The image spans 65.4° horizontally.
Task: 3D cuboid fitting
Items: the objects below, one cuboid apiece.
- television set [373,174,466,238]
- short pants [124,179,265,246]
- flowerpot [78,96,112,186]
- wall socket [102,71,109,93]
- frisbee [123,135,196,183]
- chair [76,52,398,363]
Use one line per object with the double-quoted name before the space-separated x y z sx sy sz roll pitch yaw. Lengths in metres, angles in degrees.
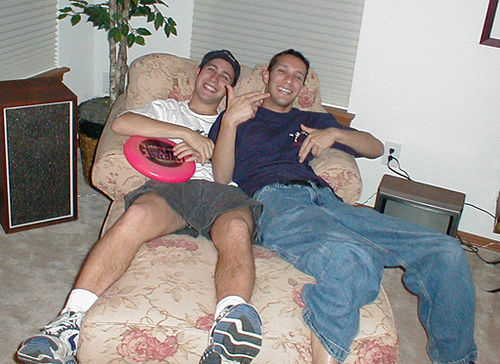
"television set" 1.310 0.164 3.029 0.622 0.244 0.423 17 25 18
"short pants" -0.301 0.150 2.198 0.776 0.228 0.294 7 24 -2
"flowerpot" -1.249 -0.328 3.189 0.252 0.651 0.614 -1 25 -20
"wall socket" -1.401 -0.986 3.837 0.088 0.202 0.019 18 26 22
"frisbee" -0.518 -0.142 2.287 0.399 0.191 0.319 0 25 -18
"chair" -0.210 0.221 2.603 1.477 0.909 1.990 0 53 -3
